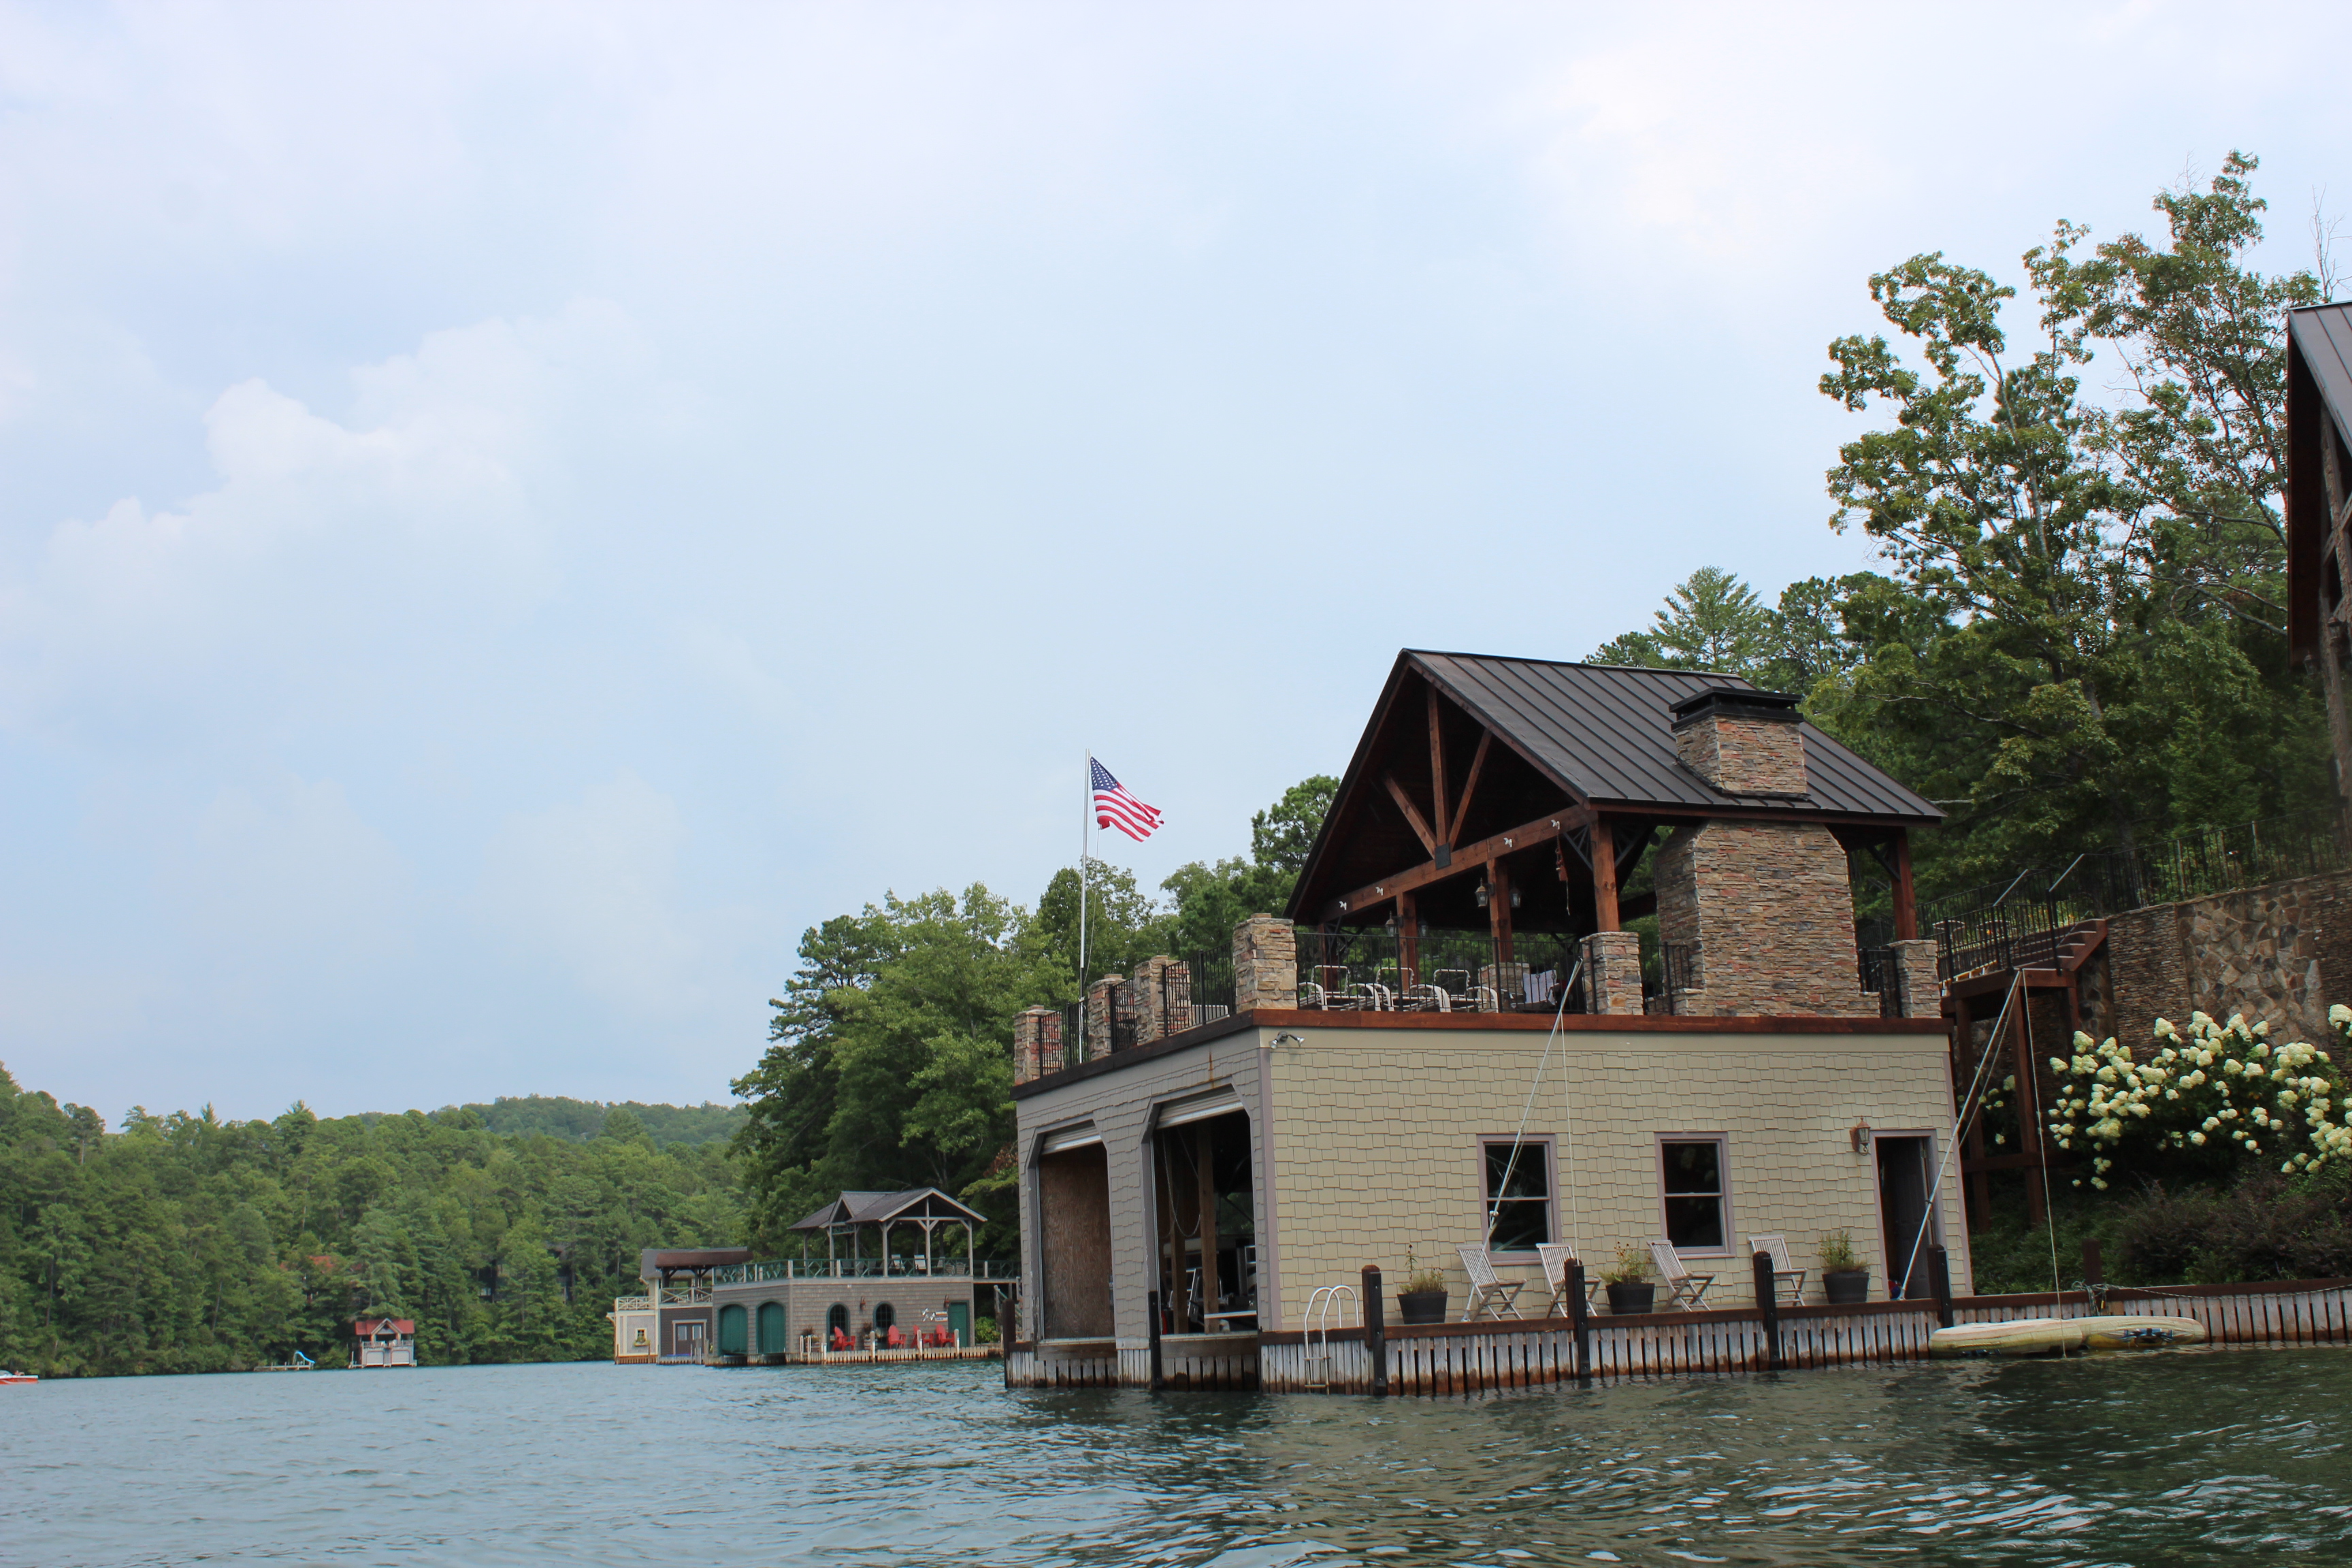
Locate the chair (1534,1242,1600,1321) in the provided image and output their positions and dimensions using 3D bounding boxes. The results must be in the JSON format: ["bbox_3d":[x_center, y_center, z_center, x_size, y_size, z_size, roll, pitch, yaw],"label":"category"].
[{"bbox_3d":[6.923,8.932,44.648,0.989,1.273,1.674,-8,-6,22],"label":"chair"}]

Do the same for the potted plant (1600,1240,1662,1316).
[{"bbox_3d":[8.337,9.036,44.989,0.928,1.243,1.102,-6,-17,38],"label":"potted plant"}]

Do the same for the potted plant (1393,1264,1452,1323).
[{"bbox_3d":[4.397,9.139,44.075,0.873,0.870,0.746,7,-25,-18],"label":"potted plant"}]

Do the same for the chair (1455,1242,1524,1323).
[{"bbox_3d":[5.658,8.920,44.612,1.019,1.277,0.717,-6,-5,6],"label":"chair"}]

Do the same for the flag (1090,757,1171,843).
[{"bbox_3d":[-1.125,0.499,50.179,1.754,2.267,0.248,9,-22,-30],"label":"flag"}]

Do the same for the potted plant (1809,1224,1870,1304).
[{"bbox_3d":[12.481,9.063,46.279,1.158,1.497,1.001,2,-31,-4],"label":"potted plant"}]
